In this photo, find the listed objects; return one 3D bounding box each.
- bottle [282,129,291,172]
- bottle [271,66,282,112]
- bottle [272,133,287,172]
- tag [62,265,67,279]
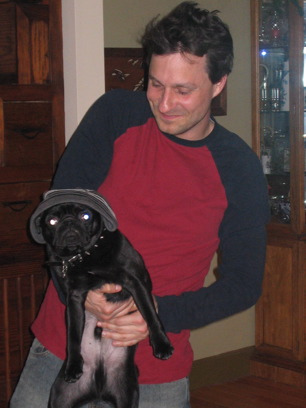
[{"bbox_3d":[0.914,-0.359,2.925,0.026,0.289,0.059,-5,10,-26],"label":"bottle"},{"bbox_3d":[0.838,-0.770,2.911,0.069,0.297,0.042,1,9,15],"label":"bottle"},{"bbox_3d":[0.875,-0.341,2.996,0.118,0.298,0.070,-2,7,-7],"label":"bottle"},{"bbox_3d":[-0.191,0.145,0.919,0.009,0.013,0.019,6,27,-23],"label":"tag"}]
